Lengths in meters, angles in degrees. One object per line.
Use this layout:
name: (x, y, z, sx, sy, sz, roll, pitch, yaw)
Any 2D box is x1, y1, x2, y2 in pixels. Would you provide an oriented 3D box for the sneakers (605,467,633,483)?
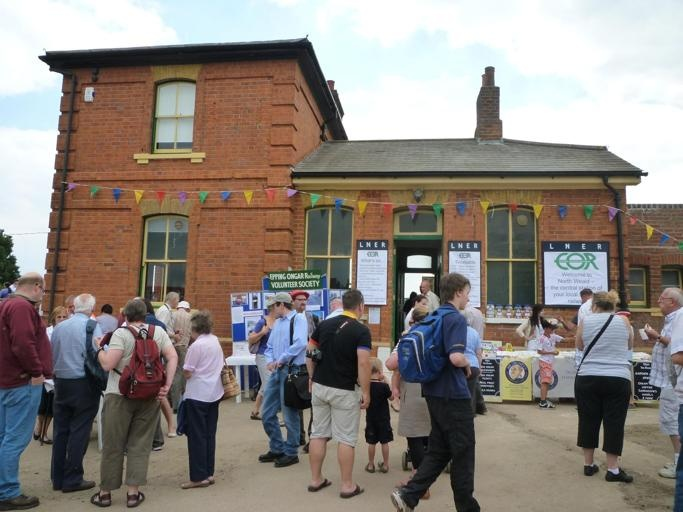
sneakers: (3.849, 3.055, 10.167, 0.364, 0.175, 0.168, -1, -2, -2)

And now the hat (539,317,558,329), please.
hat: (4.148, 1.334, 14.634, 0.264, 0.147, 0.350, 2, -1, 9)

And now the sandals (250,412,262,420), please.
sandals: (-1.539, 2.919, 13.288, 0.086, 0.116, 0.263, 1, 0, 34)

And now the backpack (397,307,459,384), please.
backpack: (1.086, 1.139, 9.212, 0.723, 0.973, 0.348, 0, 4, 5)

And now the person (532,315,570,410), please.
person: (4.148, 2.108, 14.596, 0.469, 1.705, 1.327, 1, 4, 17)

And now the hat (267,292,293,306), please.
hat: (-0.960, 0.656, 11.205, 0.357, 0.139, 0.236, 0, -3, 11)

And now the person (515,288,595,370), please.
person: (4.194, 1.471, 14.224, 1.924, 0.573, 1.021, -6, -39, 24)

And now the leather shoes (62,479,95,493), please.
leather shoes: (-3.604, 3.162, 10.085, 0.392, 0.167, 0.144, -4, 1, -27)

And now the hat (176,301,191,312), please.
hat: (-3.025, 0.961, 14.010, 0.260, 0.130, 0.196, 6, -7, 37)

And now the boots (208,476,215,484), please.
boots: (-1.802, 3.142, 10.225, 0.045, 0.056, 0.126, 1, 1, -3)

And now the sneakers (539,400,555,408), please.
sneakers: (4.004, 2.877, 14.160, 0.291, 0.141, 0.328, 1, 5, 14)

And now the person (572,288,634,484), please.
person: (3.792, 1.828, 10.432, 0.811, 2.589, 0.675, 2, 5, 36)

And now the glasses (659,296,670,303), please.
glasses: (4.611, 0.622, 10.405, 0.112, 0.036, 0.110, 20, 1, 17)

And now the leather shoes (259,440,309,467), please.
leather shoes: (-0.870, 2.993, 10.881, 0.656, 0.296, 0.220, 5, -5, -10)

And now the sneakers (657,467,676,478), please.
sneakers: (4.635, 3.085, 10.390, 0.265, 0.126, 0.099, 3, -10, -20)

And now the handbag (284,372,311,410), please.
handbag: (-0.586, 1.950, 10.770, 0.289, 0.593, 0.591, -2, -3, 29)

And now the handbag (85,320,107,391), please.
handbag: (-3.441, 1.442, 10.238, 0.402, 1.069, 0.746, -1, -13, -16)

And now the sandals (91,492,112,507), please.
sandals: (-3.178, 3.227, 9.684, 0.269, 0.177, 0.211, -2, 4, -15)

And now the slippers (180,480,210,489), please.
slippers: (-2.007, 3.177, 10.090, 0.378, 0.160, 0.133, 2, -5, 2)
